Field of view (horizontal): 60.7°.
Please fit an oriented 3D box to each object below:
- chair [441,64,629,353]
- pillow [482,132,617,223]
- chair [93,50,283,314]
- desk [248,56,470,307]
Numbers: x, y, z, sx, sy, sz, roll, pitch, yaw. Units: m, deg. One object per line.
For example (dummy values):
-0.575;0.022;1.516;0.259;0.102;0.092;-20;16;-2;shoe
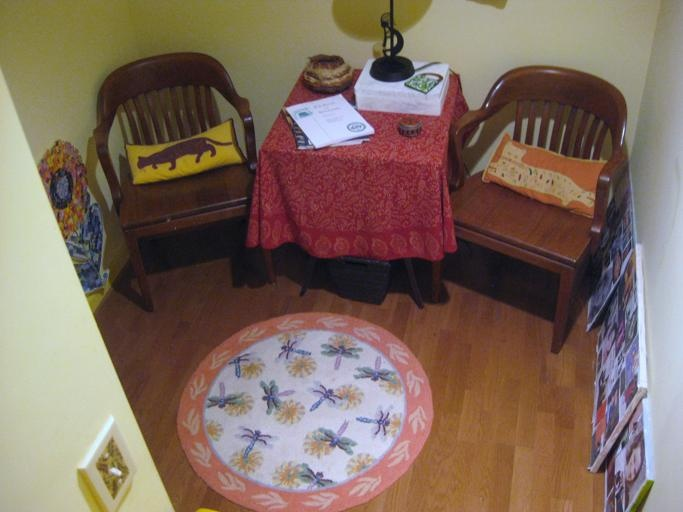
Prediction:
0.909;-0.238;2.870;0.733;1.129;0.859;6;37;14;chair
0.999;-0.378;2.797;0.536;0.169;0.347;21;86;26;pillow
-0.847;-0.432;3.147;0.686;1.100;0.755;-15;38;-16;chair
0.077;-0.379;3.155;0.862;0.725;1.022;5;55;7;desk
